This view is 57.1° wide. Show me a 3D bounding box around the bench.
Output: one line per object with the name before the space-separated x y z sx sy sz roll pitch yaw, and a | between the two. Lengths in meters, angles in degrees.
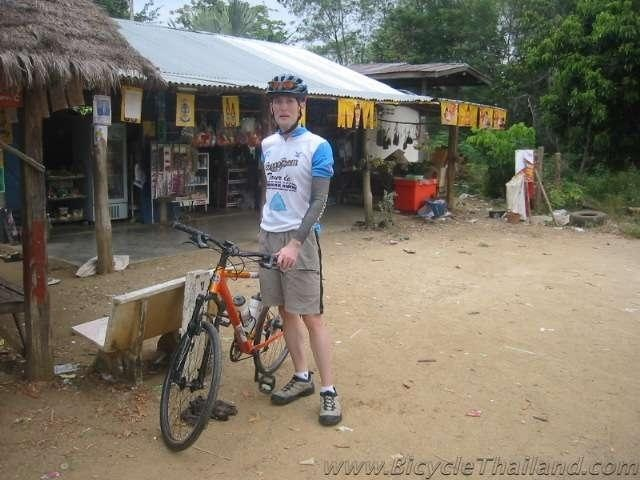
bench | -1.610 0.748 5.598 0.941 1.176 1.570 21 23 30

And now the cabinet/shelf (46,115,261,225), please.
cabinet/shelf | -4.225 -1.448 13.013 1.776 2.206 4.543 19 20 40

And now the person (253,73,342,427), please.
person | -0.265 0.067 5.080 0.688 2.987 1.033 -7 10 -35

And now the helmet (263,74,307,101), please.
helmet | -0.286 -1.298 4.976 0.323 0.199 0.183 0 13 -6

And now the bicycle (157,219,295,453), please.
bicycle | -1.341 0.805 5.252 0.737 1.552 2.198 2 7 19

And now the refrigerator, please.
refrigerator | -4.420 -1.479 12.864 0.252 2.141 0.594 9 15 29
